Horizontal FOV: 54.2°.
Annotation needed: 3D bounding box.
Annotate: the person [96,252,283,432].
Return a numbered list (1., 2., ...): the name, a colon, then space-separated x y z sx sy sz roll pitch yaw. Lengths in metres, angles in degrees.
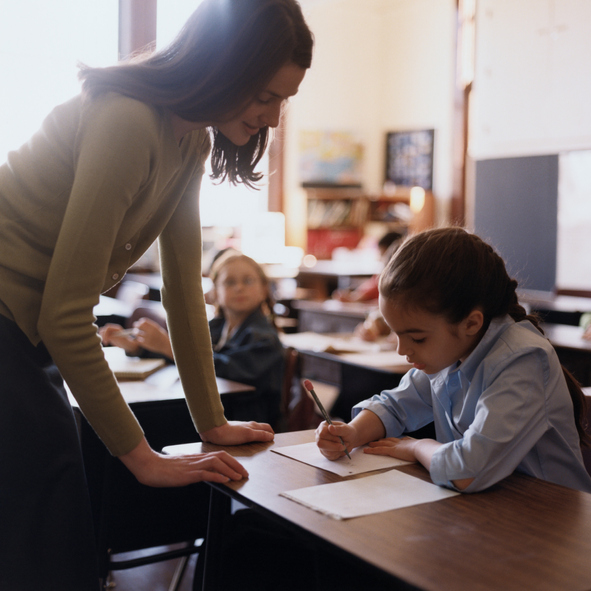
1. person: -0.375 0.168 2.449 0.585 0.468 0.943 -1 6 -15
